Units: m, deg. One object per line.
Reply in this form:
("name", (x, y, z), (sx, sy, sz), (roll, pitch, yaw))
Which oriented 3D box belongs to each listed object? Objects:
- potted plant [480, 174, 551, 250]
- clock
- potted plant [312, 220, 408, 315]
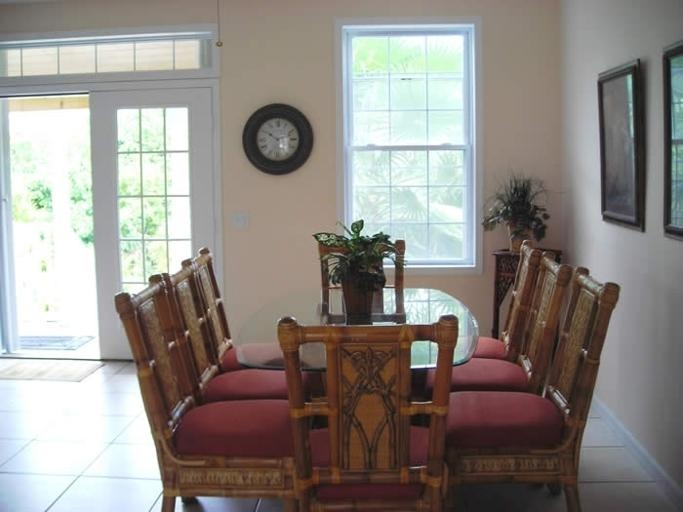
("potted plant", (1.319, -0.308, 4.620), (0.442, 0.555, 0.504), (-3, 16, -15))
("clock", (-0.507, -0.946, 4.848), (0.548, 0.654, 0.048), (1, -21, -5))
("potted plant", (0.079, 0.140, 3.234), (0.443, 0.581, 0.505), (4, -13, -17))
